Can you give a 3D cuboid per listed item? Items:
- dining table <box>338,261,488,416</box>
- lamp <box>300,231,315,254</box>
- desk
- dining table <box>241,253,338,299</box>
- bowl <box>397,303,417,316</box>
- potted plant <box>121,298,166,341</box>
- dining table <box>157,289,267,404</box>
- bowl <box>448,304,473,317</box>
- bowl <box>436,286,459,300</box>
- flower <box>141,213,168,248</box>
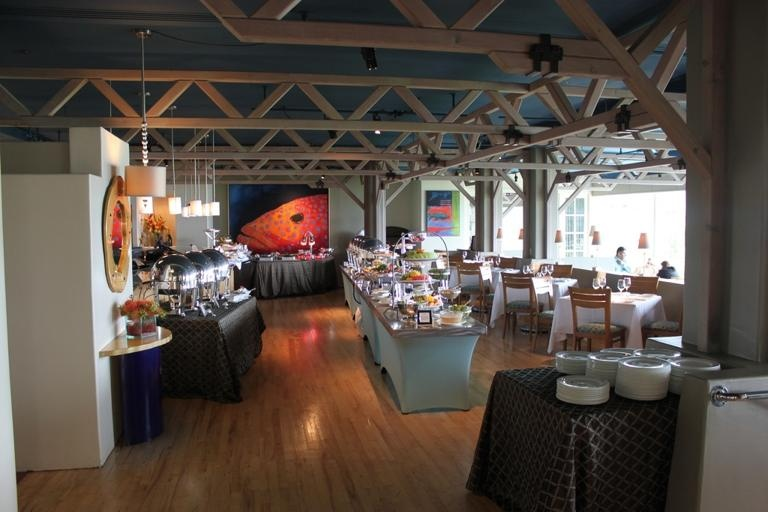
[{"bbox_3d":[0.301,1.093,6.881,0.950,1.153,2.406,-4,12,-15],"label":"dining table"},{"bbox_3d":[-2.296,-0.424,16.421,0.548,0.355,0.834,0,13,-5],"label":"lamp"},{"bbox_3d":[-2.546,1.397,5.765,0.599,1.007,1.026,-3,-2,-20],"label":"desk"},{"bbox_3d":[-2.251,0.323,14.540,2.980,0.912,1.499,-4,22,10],"label":"dining table"},{"bbox_3d":[0.251,0.586,6.094,0.143,0.087,0.140,0,-4,0],"label":"bowl"},{"bbox_3d":[-2.483,0.626,5.575,0.393,0.394,0.328,-1,-6,-6],"label":"potted plant"},{"bbox_3d":[-2.361,1.056,7.597,1.120,0.804,2.684,5,5,-8],"label":"dining table"},{"bbox_3d":[0.843,0.584,5.996,0.168,0.071,0.165,1,1,0],"label":"bowl"},{"bbox_3d":[0.817,0.450,6.669,0.207,0.101,0.205,0,-2,0],"label":"bowl"},{"bbox_3d":[-6.701,-0.790,16.083,0.742,0.902,0.383,-4,13,-16],"label":"flower"}]
